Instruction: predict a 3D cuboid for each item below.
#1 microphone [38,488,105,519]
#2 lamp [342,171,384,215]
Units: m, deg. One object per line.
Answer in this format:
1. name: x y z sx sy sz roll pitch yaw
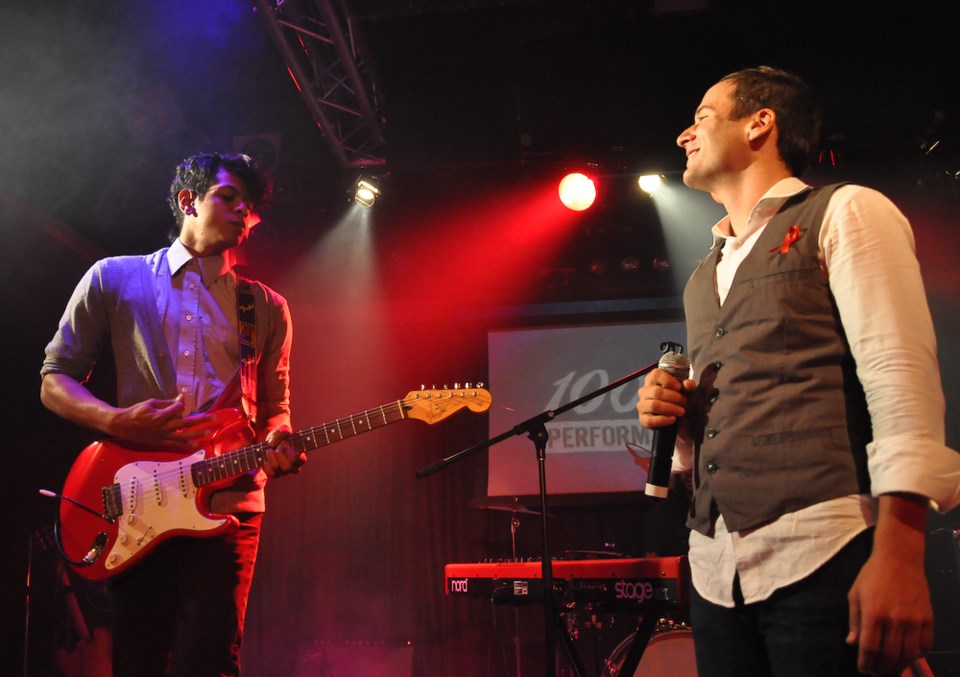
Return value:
1. microphone: -2.087 0.846 4.138 0.233 0.147 0.704 7 -15 -37
2. lamp: -0.924 -1.188 6.686 0.214 0.084 0.262 -5 -54 -24
